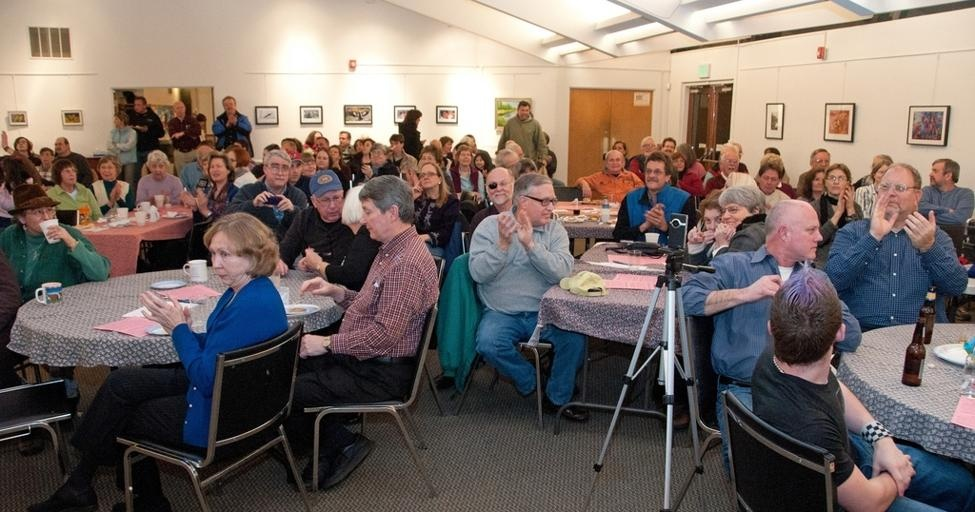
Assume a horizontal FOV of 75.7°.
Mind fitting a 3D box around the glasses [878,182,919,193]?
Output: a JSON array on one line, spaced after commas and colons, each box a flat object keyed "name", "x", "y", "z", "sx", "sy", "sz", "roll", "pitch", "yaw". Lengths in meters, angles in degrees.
[{"name": "glasses", "x": 3.355, "y": -0.550, "z": 5.136, "sx": 0.158, "sy": 0.046, "sz": 0.149, "roll": 10, "pitch": -4, "yaw": -27}]

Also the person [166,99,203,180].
[{"name": "person", "x": -6.122, "y": -2.116, "z": 12.652, "sx": 0.629, "sy": 1.853, "sz": 0.543, "roll": -14, "pitch": 30, "yaw": -38}]

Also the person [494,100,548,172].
[{"name": "person", "x": 0.674, "y": -2.119, "z": 12.572, "sx": 0.929, "sy": 1.871, "sz": 0.507, "roll": 5, "pitch": 32, "yaw": 9}]

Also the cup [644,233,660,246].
[{"name": "cup", "x": 1.538, "y": -0.147, "z": 5.902, "sx": 0.175, "sy": 0.131, "sz": 0.178, "roll": 0, "pitch": 1, "yaw": 0}]

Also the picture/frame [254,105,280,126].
[{"name": "picture/frame", "x": -4.885, "y": -3.070, "z": 13.711, "sx": 0.500, "sy": 0.415, "sz": 0.049, "roll": 0, "pitch": 4, "yaw": -25}]

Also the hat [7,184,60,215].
[{"name": "hat", "x": -4.100, "y": -0.477, "z": 5.595, "sx": 0.315, "sy": 0.119, "sz": 0.271, "roll": -12, "pitch": 0, "yaw": 28}]

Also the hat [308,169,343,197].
[{"name": "hat", "x": -1.663, "y": -0.729, "z": 6.308, "sx": 0.249, "sy": 0.178, "sz": 0.349, "roll": -14, "pitch": 1, "yaw": -18}]

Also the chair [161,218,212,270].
[{"name": "chair", "x": -3.523, "y": -0.150, "z": 7.308, "sx": 0.416, "sy": 0.673, "sz": 0.401, "roll": 18, "pitch": 18, "yaw": 5}]

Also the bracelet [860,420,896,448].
[{"name": "bracelet", "x": 2.478, "y": 1.139, "z": 3.980, "sx": 0.083, "sy": 0.144, "sz": 0.166, "roll": 29, "pitch": -8, "yaw": 37}]

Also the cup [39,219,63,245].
[{"name": "cup", "x": -3.895, "y": -0.207, "z": 5.664, "sx": 0.215, "sy": 0.221, "sz": 0.214, "roll": 0, "pitch": 6, "yaw": 0}]

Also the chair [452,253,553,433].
[{"name": "chair", "x": 0.436, "y": 0.993, "z": 6.296, "sx": 1.026, "sy": 1.635, "sz": 0.917, "roll": 1, "pitch": 4, "yaw": 21}]

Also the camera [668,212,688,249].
[{"name": "camera", "x": 1.394, "y": -0.181, "z": 4.622, "sx": 0.121, "sy": 0.255, "sz": 0.236, "roll": 4, "pitch": 14, "yaw": 13}]

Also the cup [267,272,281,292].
[{"name": "cup", "x": -1.683, "y": 0.212, "z": 4.895, "sx": 0.134, "sy": 0.098, "sz": 0.134, "roll": 17, "pitch": 46, "yaw": -19}]

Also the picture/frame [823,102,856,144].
[{"name": "picture/frame", "x": 5.697, "y": -2.149, "z": 10.151, "sx": 0.058, "sy": 0.766, "sz": 0.757, "roll": 4, "pitch": 2, "yaw": -17}]

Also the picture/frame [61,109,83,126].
[{"name": "picture/frame", "x": -8.708, "y": -2.877, "z": 13.054, "sx": 0.362, "sy": 0.294, "sz": 0.025, "roll": 1, "pitch": 0, "yaw": -9}]

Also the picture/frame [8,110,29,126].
[{"name": "picture/frame", "x": -9.711, "y": -2.830, "z": 12.912, "sx": 0.344, "sy": 0.359, "sz": 0.036, "roll": -3, "pitch": -4, "yaw": -24}]

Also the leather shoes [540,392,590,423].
[{"name": "leather shoes", "x": 0.727, "y": 1.418, "z": 5.792, "sx": 0.512, "sy": 0.215, "sz": 0.187, "roll": 2, "pitch": 15, "yaw": 14}]

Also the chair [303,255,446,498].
[{"name": "chair", "x": -0.877, "y": 1.072, "z": 6.072, "sx": 1.758, "sy": 2.397, "sz": 1.453, "roll": 2, "pitch": 4, "yaw": -10}]
